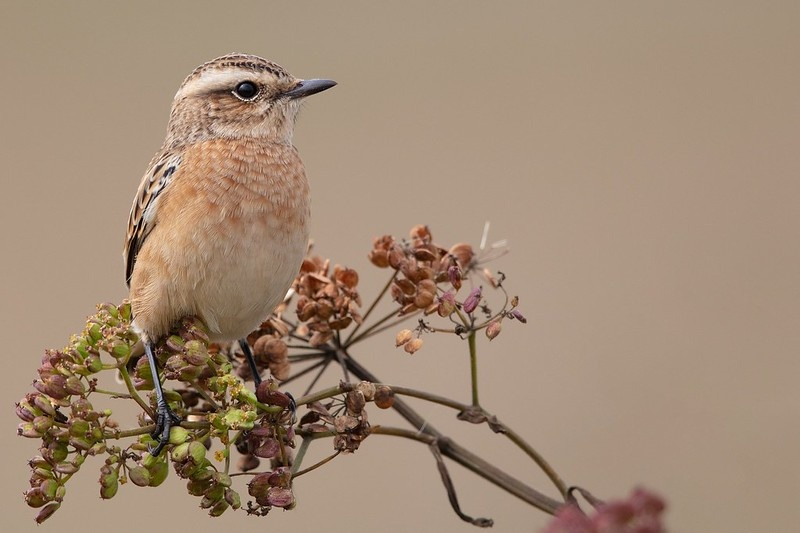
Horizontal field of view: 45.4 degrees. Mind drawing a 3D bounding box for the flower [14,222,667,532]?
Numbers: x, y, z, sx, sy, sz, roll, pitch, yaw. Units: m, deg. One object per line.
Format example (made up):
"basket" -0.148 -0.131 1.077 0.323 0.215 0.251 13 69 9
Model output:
"flower" -0.164 0.301 2.531 1.595 0.813 0.599 1 -99 6
